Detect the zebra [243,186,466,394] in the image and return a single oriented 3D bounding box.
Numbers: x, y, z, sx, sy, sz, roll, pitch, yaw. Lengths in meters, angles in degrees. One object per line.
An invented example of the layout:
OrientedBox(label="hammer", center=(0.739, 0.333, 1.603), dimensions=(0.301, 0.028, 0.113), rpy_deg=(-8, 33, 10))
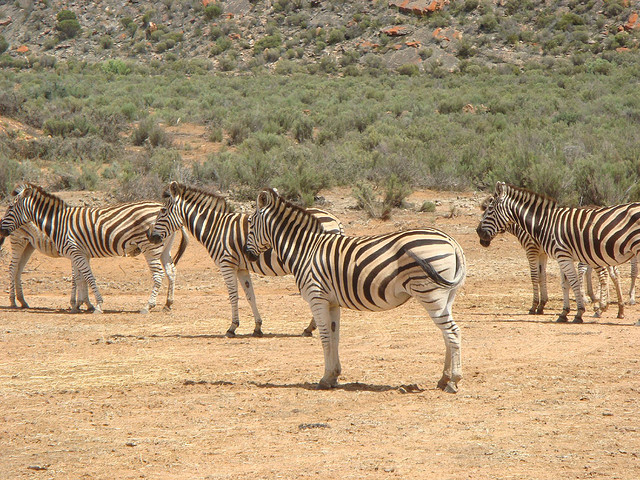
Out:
OrientedBox(label="zebra", center=(0.535, 0.886, 14.841), dimensions=(3.808, 3.293, 1.222), rpy_deg=(1, 3, 18))
